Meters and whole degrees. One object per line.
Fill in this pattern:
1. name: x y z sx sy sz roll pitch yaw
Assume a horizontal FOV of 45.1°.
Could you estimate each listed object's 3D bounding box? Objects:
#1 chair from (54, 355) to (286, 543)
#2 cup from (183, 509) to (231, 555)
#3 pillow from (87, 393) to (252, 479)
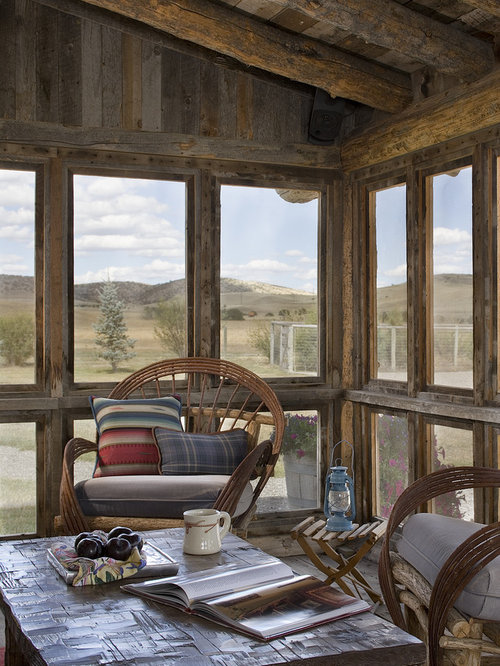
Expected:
1. chair: -0.385 0.549 3.142 1.174 0.959 1.202 3 -9 -16
2. cup: -0.123 0.550 1.697 0.138 0.096 0.106 3 -5 -28
3. pillow: -0.469 0.503 3.047 0.535 0.474 0.150 5 -36 -18
